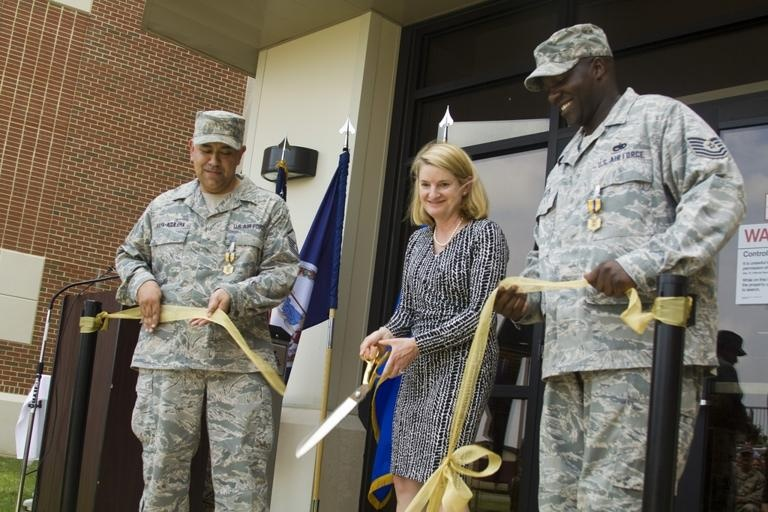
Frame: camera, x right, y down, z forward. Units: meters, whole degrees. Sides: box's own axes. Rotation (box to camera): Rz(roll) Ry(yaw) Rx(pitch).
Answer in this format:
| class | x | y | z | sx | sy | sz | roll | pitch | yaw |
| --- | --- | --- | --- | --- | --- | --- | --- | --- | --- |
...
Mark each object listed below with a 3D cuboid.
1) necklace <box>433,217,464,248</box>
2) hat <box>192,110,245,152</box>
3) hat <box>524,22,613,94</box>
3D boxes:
| class | x | y | z | sx | sy | sz | roll | pitch | yaw |
| --- | --- | --- | --- | --- | --- | --- | --- | --- | --- |
| necklace | 0.292 | -0.096 | 3.180 | 0.023 | 0.136 | 0.119 | 38 | -34 | -29 |
| hat | -0.813 | -0.629 | 3.447 | 0.186 | 0.119 | 0.240 | 4 | -8 | -8 |
| hat | 0.744 | -0.833 | 2.856 | 0.350 | 0.175 | 0.248 | -17 | -13 | -2 |
